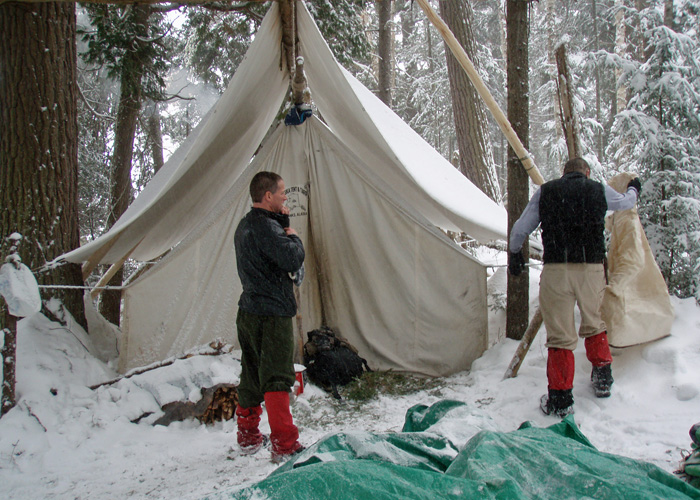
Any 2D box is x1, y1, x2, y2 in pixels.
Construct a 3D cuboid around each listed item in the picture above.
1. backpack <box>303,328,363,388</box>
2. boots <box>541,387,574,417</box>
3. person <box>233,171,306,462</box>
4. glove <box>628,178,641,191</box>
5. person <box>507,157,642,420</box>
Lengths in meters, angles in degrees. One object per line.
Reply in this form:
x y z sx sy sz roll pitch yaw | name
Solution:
-0.254 1.249 7.931 0.663 0.286 0.505 36 53 26 | backpack
2.035 1.533 6.856 0.191 0.377 0.333 3 -3 -21 | boots
-0.796 0.610 6.528 0.734 2.768 0.352 -2 -4 21 | person
3.061 -0.703 7.286 0.118 0.138 0.130 -1 4 4 | glove
2.158 0.358 6.934 0.905 2.588 0.438 -2 -4 21 | person
